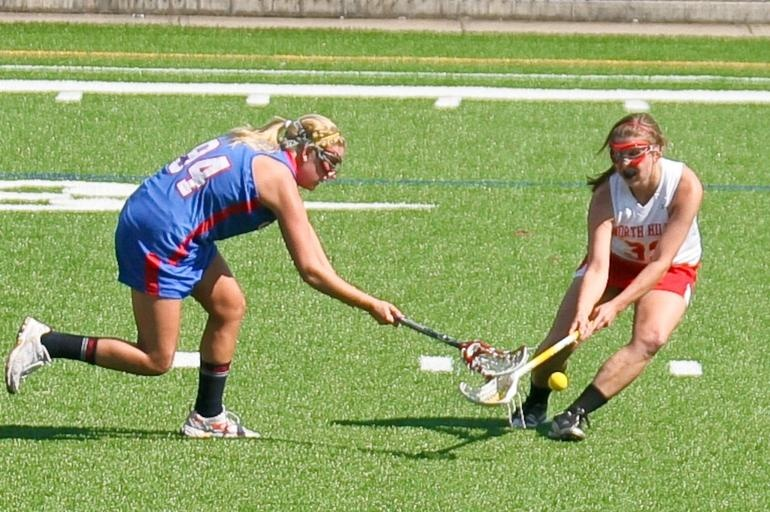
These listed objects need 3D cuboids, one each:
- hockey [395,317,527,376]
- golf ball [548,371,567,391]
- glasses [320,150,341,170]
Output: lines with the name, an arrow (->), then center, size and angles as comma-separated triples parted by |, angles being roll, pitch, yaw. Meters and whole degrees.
hockey -> 0.548, 0.789, 10.176 | 1.061, 0.230, 0.434 | 19, 20, 9
golf ball -> 1.398, 1.012, 10.085 | 0.161, 0.133, 0.140 | 7, -24, 30
glasses -> -0.442, -0.717, 9.759 | 0.147, 0.053, 0.130 | 35, 11, 10
